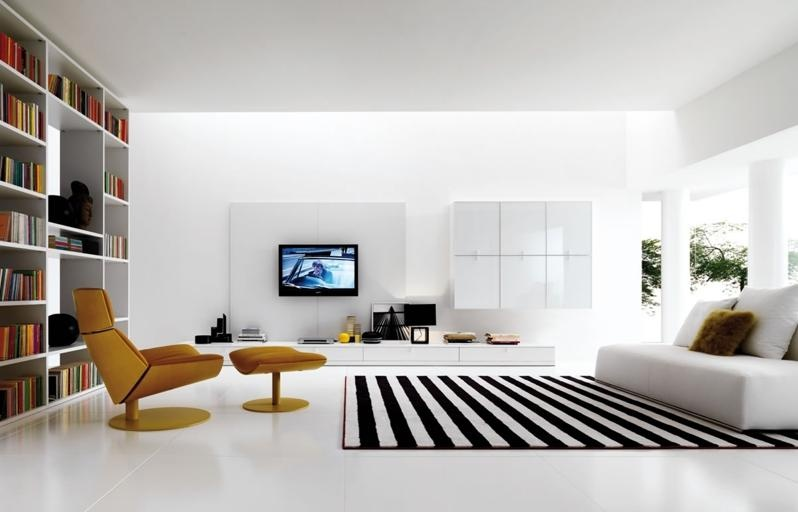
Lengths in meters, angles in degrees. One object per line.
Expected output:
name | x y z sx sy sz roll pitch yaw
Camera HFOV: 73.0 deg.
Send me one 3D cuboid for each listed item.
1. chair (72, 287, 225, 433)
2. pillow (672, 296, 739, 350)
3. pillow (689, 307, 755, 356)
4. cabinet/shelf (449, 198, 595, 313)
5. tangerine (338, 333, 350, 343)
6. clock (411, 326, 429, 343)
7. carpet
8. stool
chair | -2.673 1.056 5.703 1.372 1.334 1.190 2 -6 -30
pillow | 3.624 0.776 6.496 0.208 0.606 0.648 22 -4 -2
pillow | 3.593 0.833 5.960 0.166 0.494 0.503 30 -2 -28
cabinet/shelf | 1.903 -0.018 8.374 1.741 1.312 0.543 0 -5 -3
tangerine | -0.857 1.257 8.295 0.150 0.144 0.138 6 -3 4
clock | 0.272 1.189 8.439 0.389 0.341 0.208 1 -6 -4
carpet | 1.327 1.653 6.058 3.977 0.309 2.479 0 9 -1
stool | -1.382 1.373 5.997 0.888 0.561 1.029 3 -9 -31
